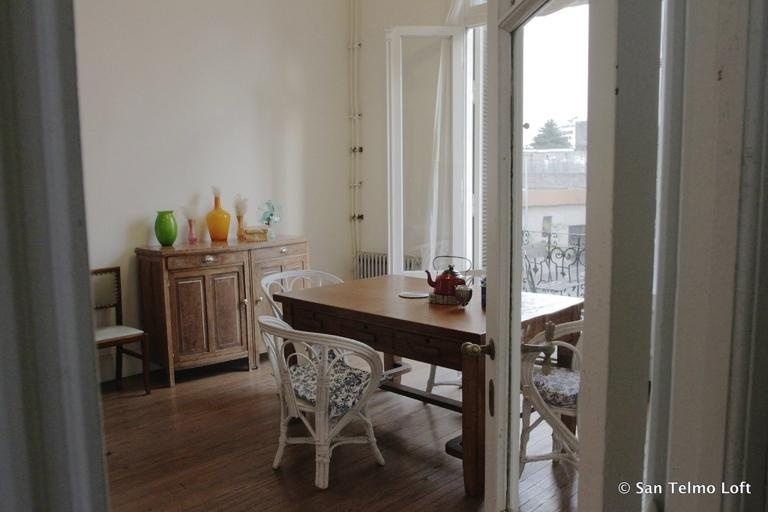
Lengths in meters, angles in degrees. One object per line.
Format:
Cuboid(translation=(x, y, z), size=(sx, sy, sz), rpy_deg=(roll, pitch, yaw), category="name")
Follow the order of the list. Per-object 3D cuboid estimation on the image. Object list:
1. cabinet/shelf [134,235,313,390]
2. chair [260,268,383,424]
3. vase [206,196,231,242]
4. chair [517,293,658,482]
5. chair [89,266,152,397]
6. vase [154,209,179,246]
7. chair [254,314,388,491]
Cuboid(translation=(-1.176, 0.416, 4.420), size=(0.390, 0.770, 1.016), rpy_deg=(4, 8, 44), category="cabinet/shelf")
Cuboid(translation=(-0.632, 0.530, 4.542), size=(0.819, 1.099, 0.904), rpy_deg=(2, 6, 44), category="chair")
Cuboid(translation=(-1.312, -0.302, 5.014), size=(0.181, 0.358, 0.330), rpy_deg=(-3, 9, -8), category="vase")
Cuboid(translation=(0.494, 0.294, 1.559), size=(0.333, 0.468, 0.386), rpy_deg=(1, 2, 24), category="chair")
Cuboid(translation=(-1.837, 0.518, 4.457), size=(0.324, 0.850, 0.670), rpy_deg=(-5, 9, -25), category="chair")
Cuboid(translation=(-1.626, -0.212, 4.729), size=(0.158, 0.254, 0.158), rpy_deg=(0, 1, 40), category="vase")
Cuboid(translation=(-0.312, 0.773, 3.274), size=(0.672, 0.770, 0.546), rpy_deg=(8, 14, 41), category="chair")
